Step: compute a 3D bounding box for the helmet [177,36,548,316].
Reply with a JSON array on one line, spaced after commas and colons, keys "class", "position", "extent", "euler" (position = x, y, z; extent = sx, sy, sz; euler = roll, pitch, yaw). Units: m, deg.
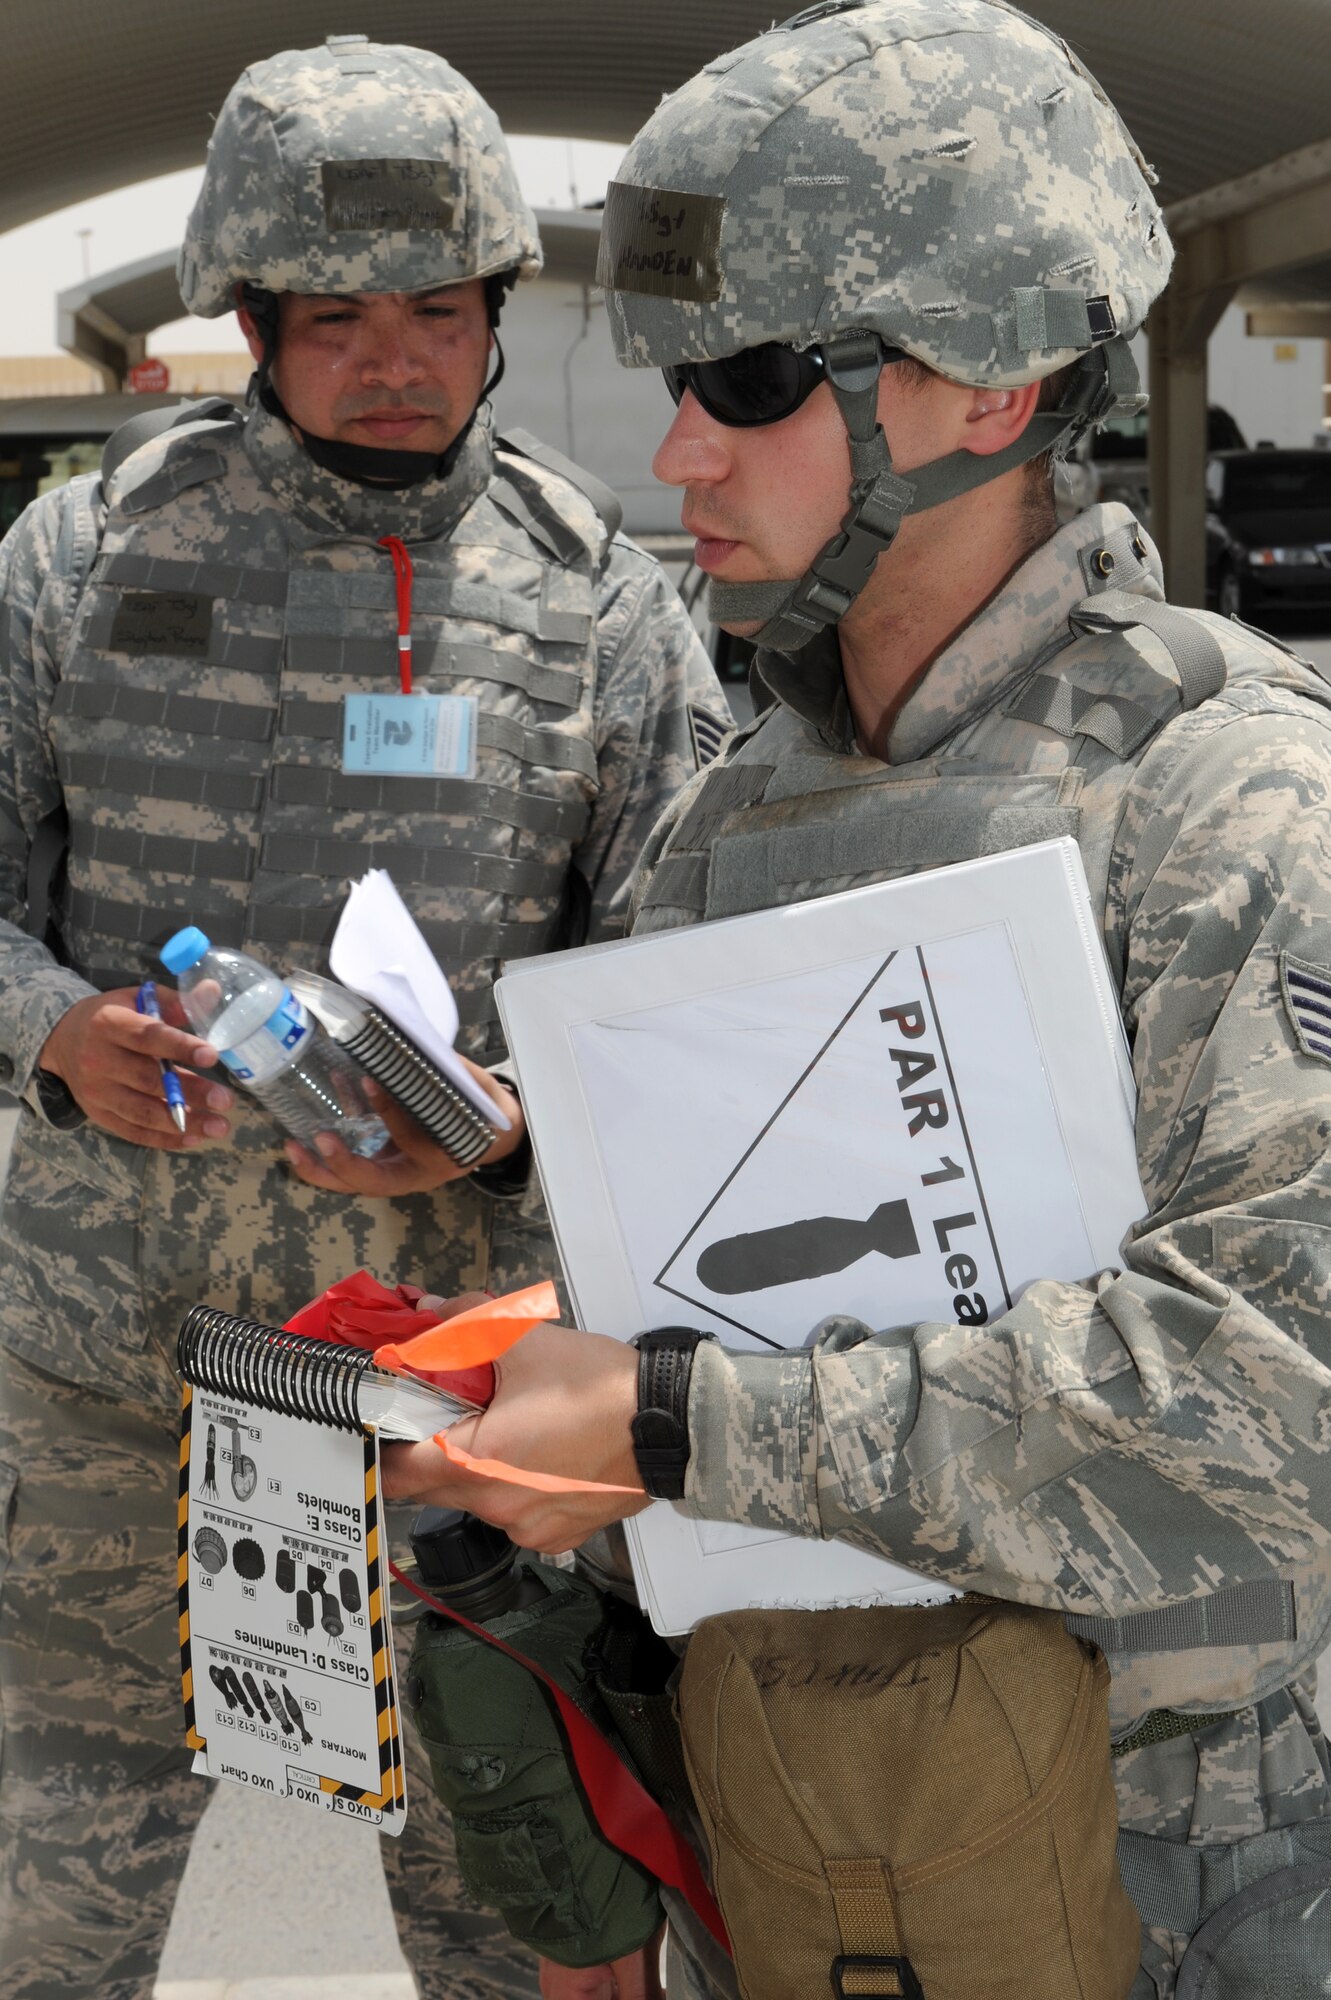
[{"class": "helmet", "position": [-0.350, -0.993, 2.217], "extent": [0.469, 0.262, 0.412], "euler": [-11, 37, -16]}]

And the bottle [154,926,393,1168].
[{"class": "bottle", "position": [-0.327, 0.029, 1.526], "extent": [0.097, 0.249, 0.086], "euler": [-23, 47, 11]}]

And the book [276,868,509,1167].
[{"class": "book", "position": [-0.204, 0.018, 1.481], "extent": [0.083, 0.214, 0.204], "euler": [-34, -6, -15]}]

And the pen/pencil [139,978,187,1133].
[{"class": "pen/pencil", "position": [-0.500, 0.057, 1.869], "extent": [0.021, 0.164, 0.020], "euler": [-20, -15, 3]}]
